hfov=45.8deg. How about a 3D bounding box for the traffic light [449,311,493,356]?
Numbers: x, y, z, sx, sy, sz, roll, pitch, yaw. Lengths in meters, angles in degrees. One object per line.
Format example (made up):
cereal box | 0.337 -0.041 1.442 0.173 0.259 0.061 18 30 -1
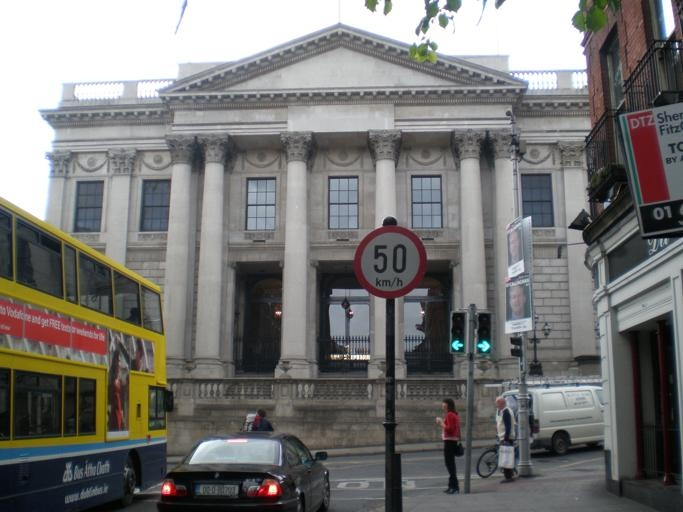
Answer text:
traffic light | 3.144 1.843 19.587 1.130 1.305 0.430 2 -9 -8

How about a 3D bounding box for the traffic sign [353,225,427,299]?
traffic sign | 0.773 0.054 12.945 1.120 1.175 0.419 -4 -15 3

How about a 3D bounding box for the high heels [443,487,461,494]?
high heels | 2.758 5.843 20.161 0.412 0.216 0.149 8 -5 -4

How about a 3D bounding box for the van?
van | 7.627 5.824 29.273 3.845 2.116 2.355 0 -9 -33

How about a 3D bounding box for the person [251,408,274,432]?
person | -2.380 4.809 23.920 0.586 0.767 1.601 -1 -17 -7

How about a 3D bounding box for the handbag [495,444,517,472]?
handbag | 4.430 5.417 21.976 0.596 0.694 0.444 -1 -3 7

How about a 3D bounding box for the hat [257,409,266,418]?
hat | -2.392 4.689 24.166 0.240 0.207 0.198 -1 -1 3
